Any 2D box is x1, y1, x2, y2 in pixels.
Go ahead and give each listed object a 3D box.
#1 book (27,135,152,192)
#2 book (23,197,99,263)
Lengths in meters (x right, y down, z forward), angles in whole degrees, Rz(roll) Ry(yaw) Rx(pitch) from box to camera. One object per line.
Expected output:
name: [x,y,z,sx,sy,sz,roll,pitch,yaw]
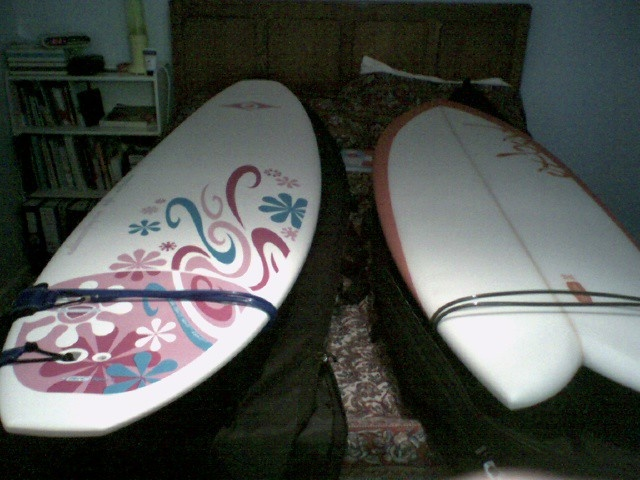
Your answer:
book: [-1.444,-0.403,3.123,0.515,0.134,0.392,1,39,-8]
book: [-1.335,-0.045,2.639,0.139,0.260,0.264,20,34,33]
